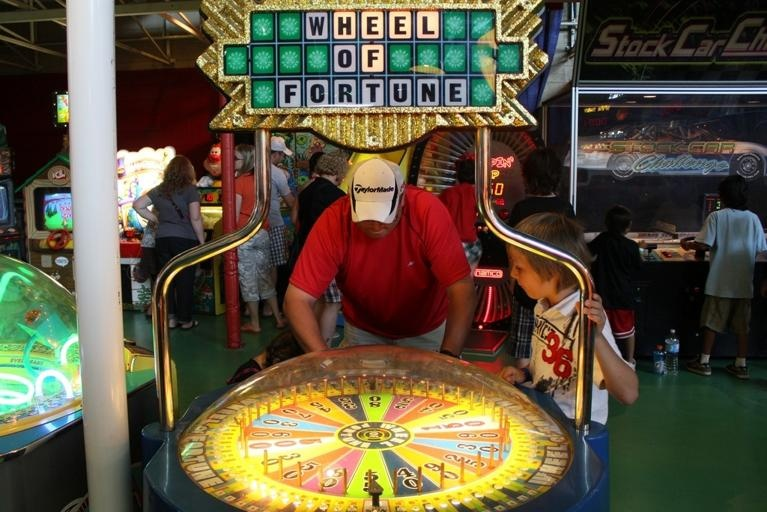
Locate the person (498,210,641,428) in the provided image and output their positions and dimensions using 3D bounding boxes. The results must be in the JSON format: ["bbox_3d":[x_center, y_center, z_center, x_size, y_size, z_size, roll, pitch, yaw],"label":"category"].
[{"bbox_3d":[0.683,0.262,2.236,0.477,0.777,0.852,2,10,11],"label":"person"}]

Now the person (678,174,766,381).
[{"bbox_3d":[2.705,0.148,4.831,0.490,1.544,0.449,5,11,27],"label":"person"}]

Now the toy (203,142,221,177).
[{"bbox_3d":[-2.428,-1.375,8.658,0.218,0.447,0.677,-4,11,-18],"label":"toy"}]

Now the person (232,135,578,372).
[{"bbox_3d":[0.235,-0.036,2.795,0.846,1.476,0.950,8,52,14],"label":"person"}]

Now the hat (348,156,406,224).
[{"bbox_3d":[-0.037,-0.286,2.492,0.227,0.191,0.359,0,29,-3],"label":"hat"}]

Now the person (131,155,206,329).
[{"bbox_3d":[-2.051,-0.118,6.013,0.535,1.715,0.667,-4,10,-19],"label":"person"}]

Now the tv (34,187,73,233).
[{"bbox_3d":[-4.504,-0.651,8.306,0.505,0.567,0.505,-3,10,-18],"label":"tv"}]

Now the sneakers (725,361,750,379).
[{"bbox_3d":[2.785,0.898,4.836,0.071,0.090,0.204,-2,10,-1],"label":"sneakers"}]

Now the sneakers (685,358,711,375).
[{"bbox_3d":[2.515,0.892,4.941,0.087,0.110,0.243,-1,4,-6],"label":"sneakers"}]
